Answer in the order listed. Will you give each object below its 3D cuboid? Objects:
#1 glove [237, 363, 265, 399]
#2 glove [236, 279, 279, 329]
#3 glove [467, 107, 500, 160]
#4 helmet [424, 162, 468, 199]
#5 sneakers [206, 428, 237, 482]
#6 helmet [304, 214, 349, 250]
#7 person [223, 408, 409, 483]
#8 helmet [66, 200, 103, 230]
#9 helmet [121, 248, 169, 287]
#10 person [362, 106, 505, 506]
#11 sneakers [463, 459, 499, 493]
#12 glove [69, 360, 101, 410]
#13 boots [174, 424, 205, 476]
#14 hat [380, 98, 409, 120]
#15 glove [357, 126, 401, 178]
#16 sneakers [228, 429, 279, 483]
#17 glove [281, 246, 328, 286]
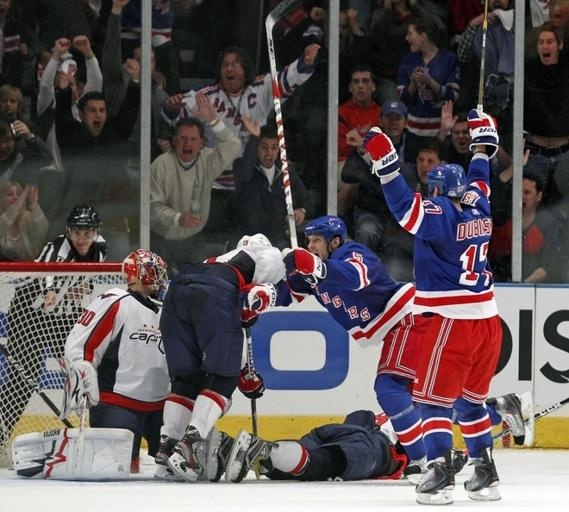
[{"bbox_3d":[-0.204,0.765,6.843,0.147,0.198,0.076,-25,7,8],"label":"glove"},{"bbox_3d":[-0.139,0.254,6.627,0.105,0.183,0.250,17,30,34],"label":"glove"},{"bbox_3d":[1.173,-0.763,6.661,0.182,0.311,0.123,16,-36,-23],"label":"glove"},{"bbox_3d":[0.939,-0.436,6.312,0.170,0.189,0.209,-10,22,-40],"label":"helmet"},{"bbox_3d":[-0.353,1.083,6.304,0.138,0.347,0.116,11,0,8],"label":"sneakers"},{"bbox_3d":[0.257,-0.147,6.900,0.200,0.195,0.166,6,-7,-4],"label":"helmet"},{"bbox_3d":[0.173,1.152,6.473,0.705,0.252,0.472,1,4,-33],"label":"person"},{"bbox_3d":[-1.394,-0.272,7.695,0.149,0.173,0.195,1,-18,-7],"label":"helmet"},{"bbox_3d":[-0.866,0.079,6.954,0.251,0.225,0.200,-5,12,-7],"label":"helmet"},{"bbox_3d":[0.899,0.247,6.236,0.760,2.160,0.982,3,5,18],"label":"person"},{"bbox_3d":[1.082,1.188,6.057,0.182,0.188,0.157,4,5,25],"label":"sneakers"},{"bbox_3d":[-1.174,0.747,6.512,0.165,0.265,0.123,1,4,-9],"label":"glove"},{"bbox_3d":[-0.530,1.098,6.277,0.109,0.159,0.354,-30,26,1],"label":"boots"},{"bbox_3d":[0.815,-1.097,8.373,0.147,0.080,0.190,6,-2,2],"label":"hat"},{"bbox_3d":[0.512,-0.551,6.133,0.198,0.298,0.096,-15,-2,-36],"label":"glove"},{"bbox_3d":[-0.187,1.084,6.190,0.199,0.150,0.447,10,-32,-11],"label":"sneakers"},{"bbox_3d":[0.117,0.063,6.313,0.243,0.210,0.168,2,4,2],"label":"glove"}]
